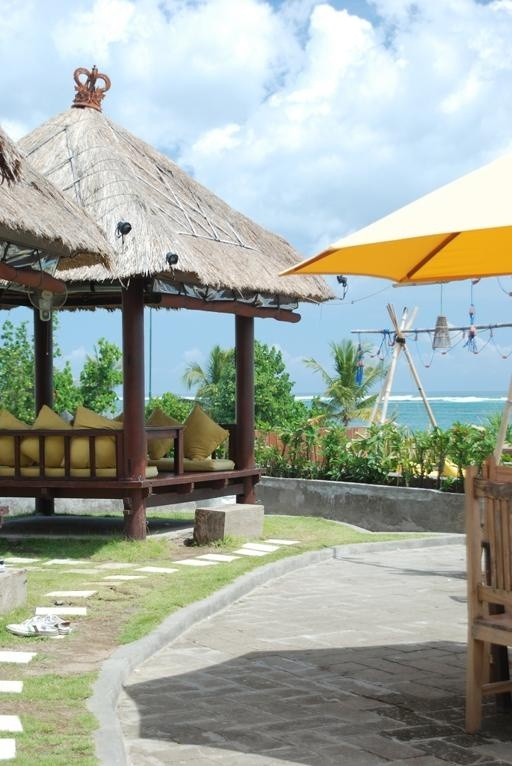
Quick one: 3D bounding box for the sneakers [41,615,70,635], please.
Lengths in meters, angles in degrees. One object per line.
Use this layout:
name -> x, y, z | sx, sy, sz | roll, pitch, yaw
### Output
sneakers -> -1.280, 1.566, 5.466 | 0.145, 0.046, 0.089 | 0, -1, 27

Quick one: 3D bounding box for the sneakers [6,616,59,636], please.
sneakers -> -1.402, 1.547, 5.358 | 0.205, 0.073, 0.115 | 5, -23, -3
